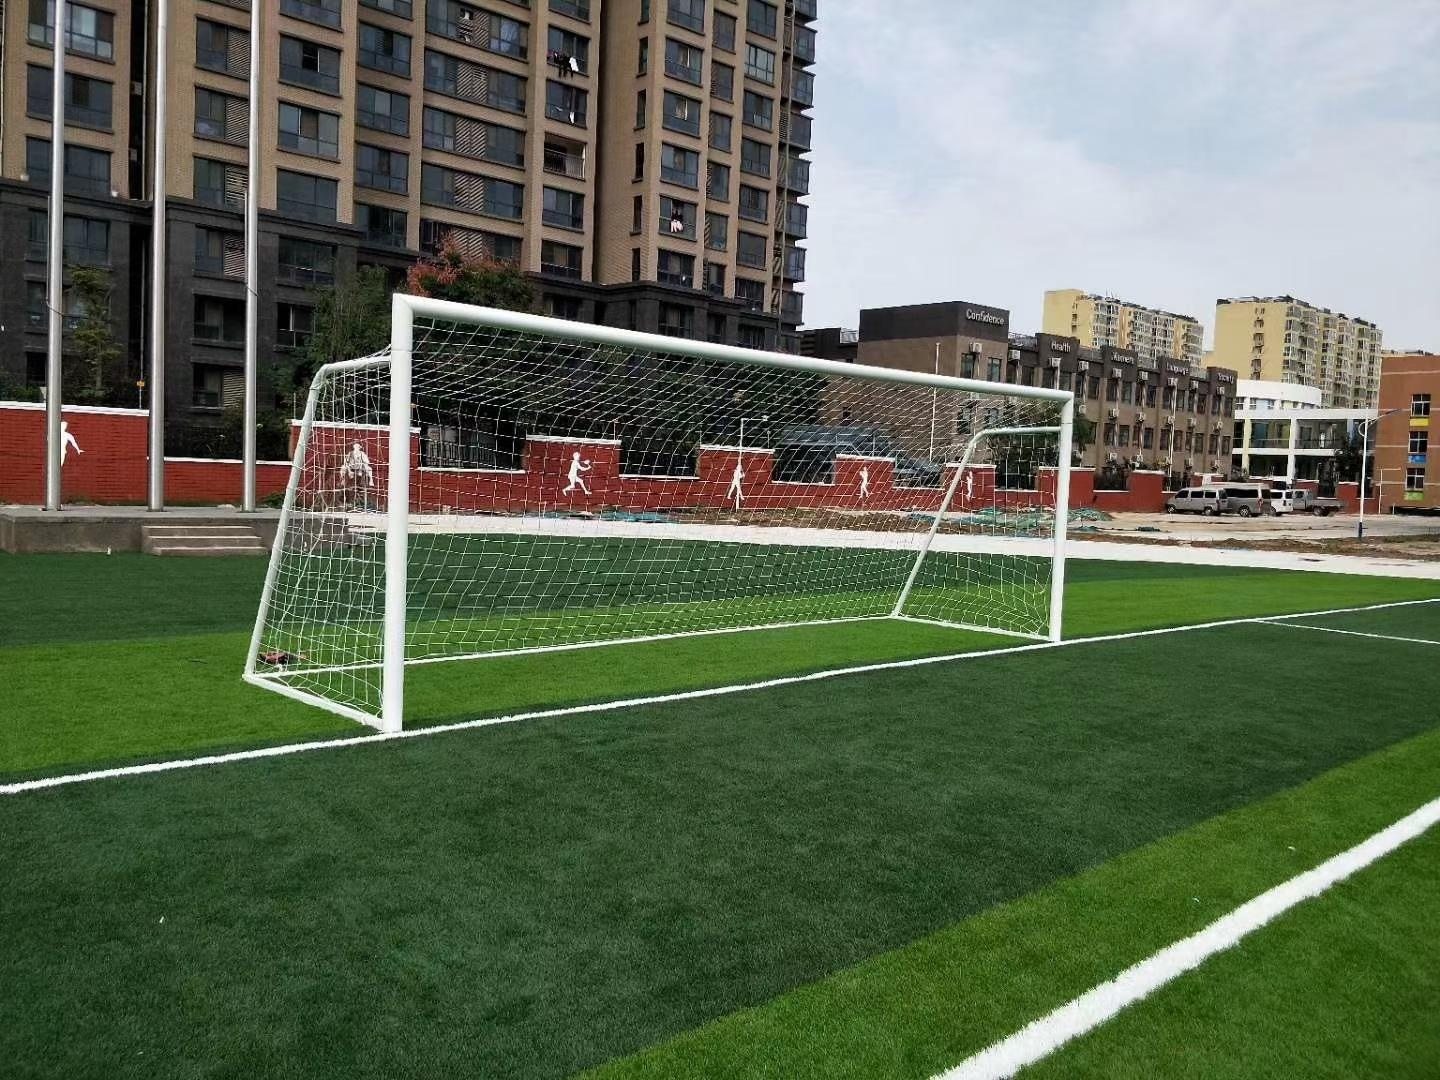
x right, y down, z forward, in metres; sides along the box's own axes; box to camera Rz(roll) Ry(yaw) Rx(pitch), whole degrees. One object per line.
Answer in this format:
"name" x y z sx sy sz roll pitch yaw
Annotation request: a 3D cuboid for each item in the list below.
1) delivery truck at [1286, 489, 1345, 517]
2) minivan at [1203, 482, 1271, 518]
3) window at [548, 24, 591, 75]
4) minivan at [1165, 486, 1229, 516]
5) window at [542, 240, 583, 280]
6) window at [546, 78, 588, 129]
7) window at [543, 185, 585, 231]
"delivery truck" 34.305 -2.102 61.154 3.620 1.775 2.334 2 2 5
"minivan" 25.796 -2.042 53.179 1.828 1.532 2.793 -1 6 -43
"window" -6.325 -20.475 44.173 0.267 1.774 2.540 0 3 39
"minivan" 24.128 -1.948 53.341 1.400 1.029 2.062 -1 6 -38
"window" -6.762 -11.995 45.232 0.156 1.156 2.008 4 5 39
"window" -6.472 -18.332 44.432 0.248 1.719 2.372 4 7 43
"window" -6.651 -14.083 44.875 0.236 1.603 2.266 4 7 43
